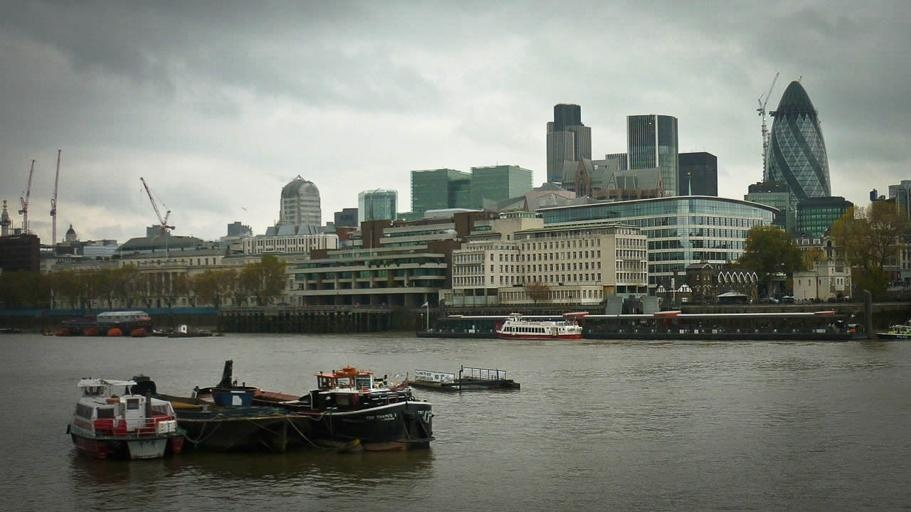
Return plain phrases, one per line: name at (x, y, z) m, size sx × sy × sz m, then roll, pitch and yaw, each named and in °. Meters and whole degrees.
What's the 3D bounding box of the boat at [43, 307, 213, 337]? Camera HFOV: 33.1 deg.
boat at (-77.498, 16.300, 367.340) m, size 32.749 × 4.938 × 9.004 m, roll -2°, pitch -3°, yaw 27°
